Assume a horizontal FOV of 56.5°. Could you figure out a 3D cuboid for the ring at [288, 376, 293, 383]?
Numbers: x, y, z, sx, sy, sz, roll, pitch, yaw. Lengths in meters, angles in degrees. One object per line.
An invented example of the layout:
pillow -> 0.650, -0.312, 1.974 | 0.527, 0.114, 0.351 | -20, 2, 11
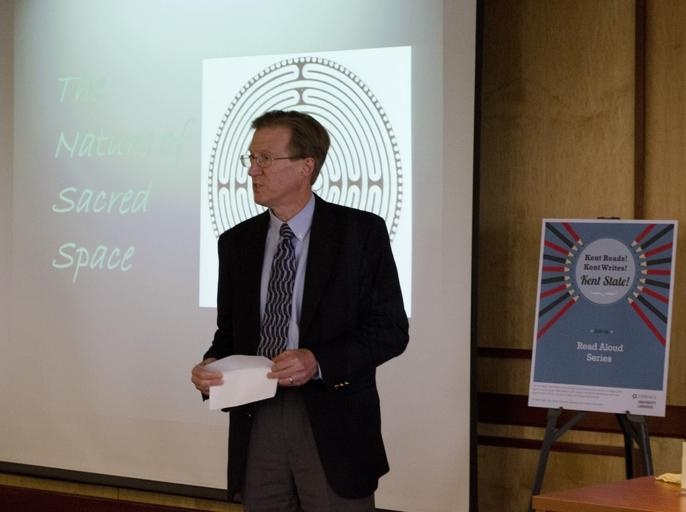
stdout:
ring -> -0.195, 0.474, 2.422 | 0.012, 0.023, 0.020 | 2, -3, 14
